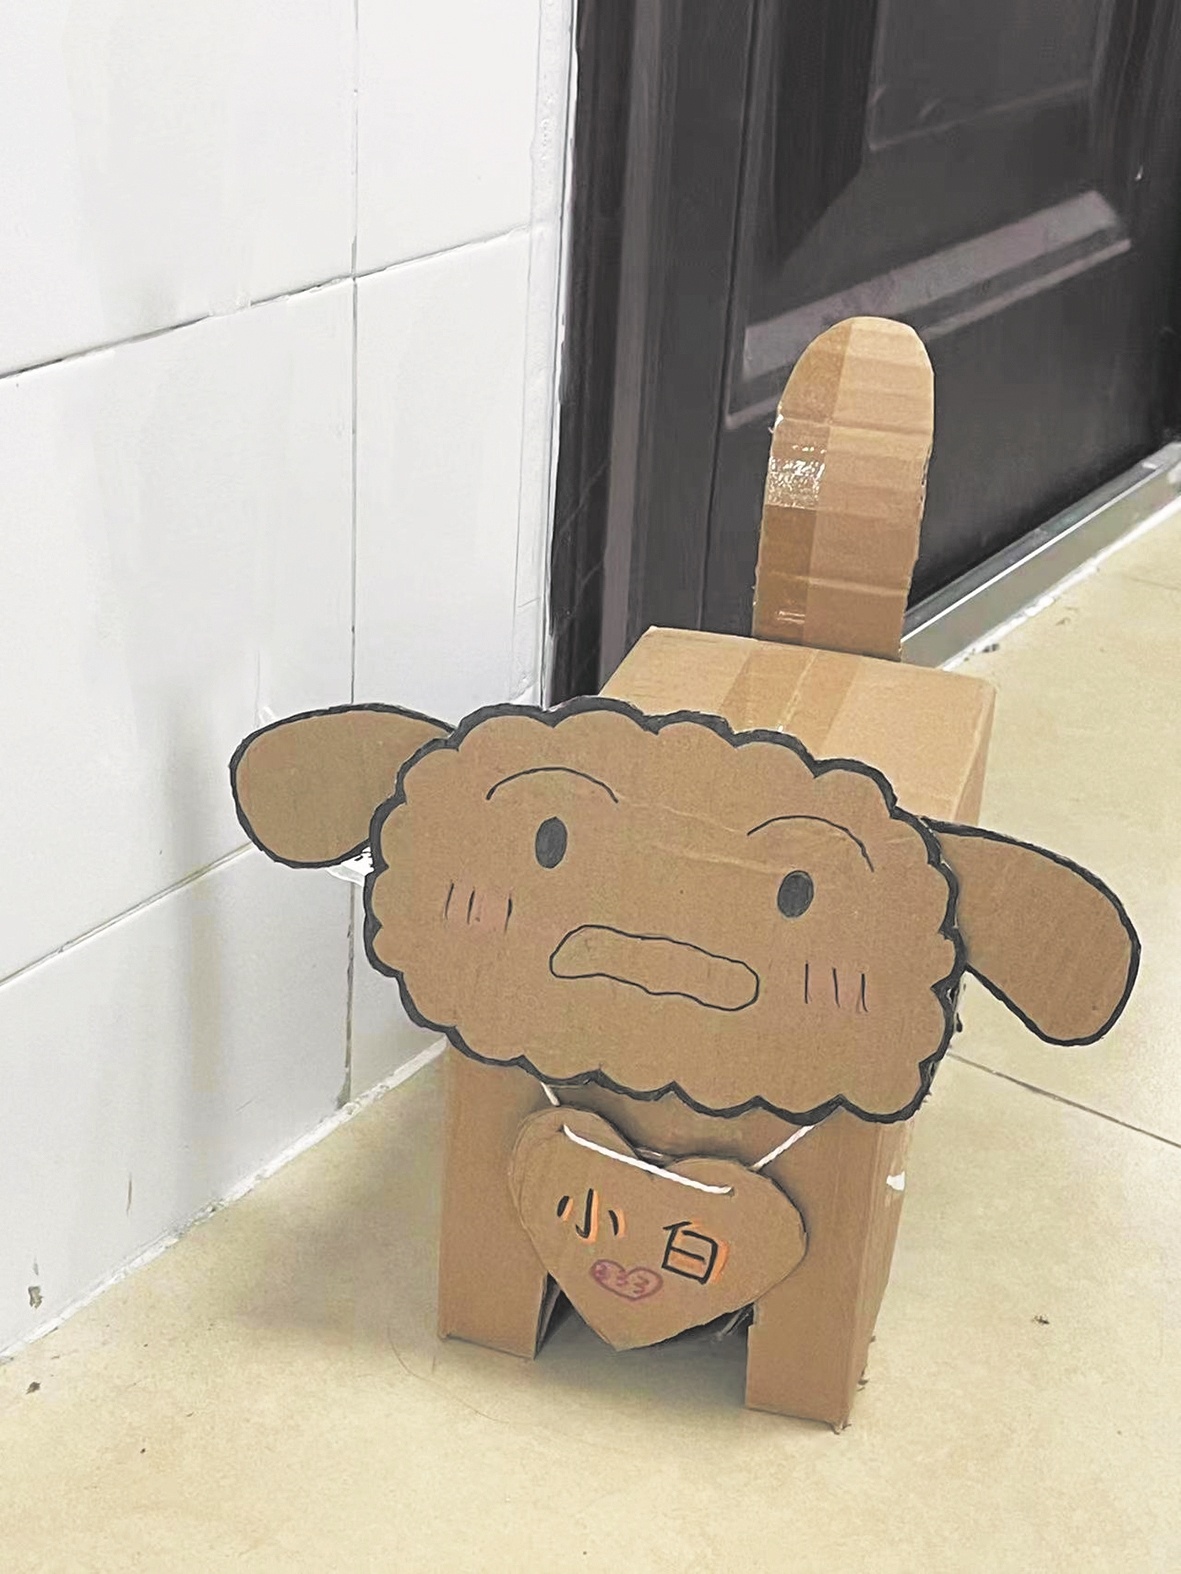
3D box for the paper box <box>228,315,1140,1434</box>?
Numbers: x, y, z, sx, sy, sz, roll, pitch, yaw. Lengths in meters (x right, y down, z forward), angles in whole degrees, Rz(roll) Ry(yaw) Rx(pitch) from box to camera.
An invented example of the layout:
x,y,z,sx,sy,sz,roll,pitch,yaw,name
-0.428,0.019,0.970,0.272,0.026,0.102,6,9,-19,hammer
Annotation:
x,y,z,sx,sy,sz,roll,pitch,yaw,name
0.032,0.069,1.047,0.542,0.626,0.437,13,33,16,paper box
